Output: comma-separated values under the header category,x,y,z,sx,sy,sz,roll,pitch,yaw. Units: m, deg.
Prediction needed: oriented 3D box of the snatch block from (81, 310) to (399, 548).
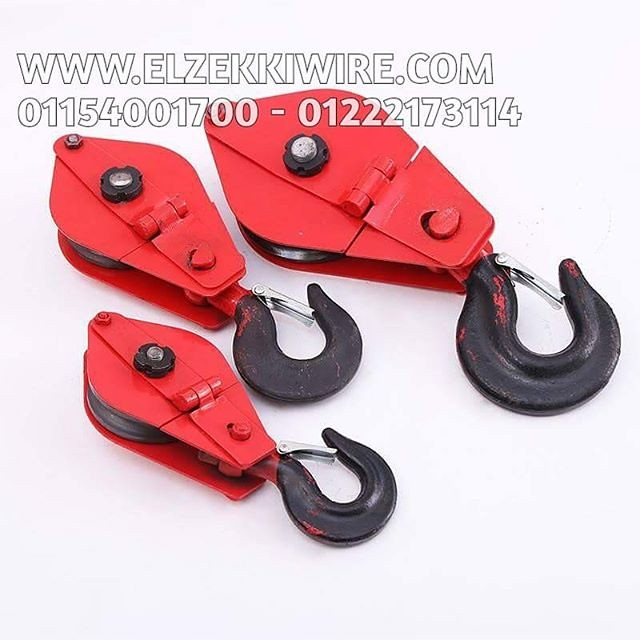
category,x,y,z,sx,sy,sz,roll,pitch,yaw
snatch block,-0.173,0.200,1.330,0.679,0.171,0.265,28,36,17

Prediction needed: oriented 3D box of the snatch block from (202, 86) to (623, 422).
category,x,y,z,sx,sy,sz,roll,pitch,yaw
snatch block,0.185,-0.113,1.754,0.983,0.202,0.509,32,70,18
